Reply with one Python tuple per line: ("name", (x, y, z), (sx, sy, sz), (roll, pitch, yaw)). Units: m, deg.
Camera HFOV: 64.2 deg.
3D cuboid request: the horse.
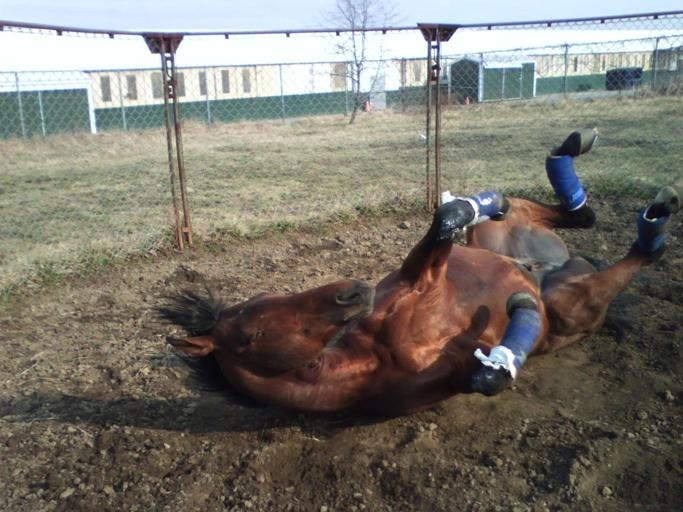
("horse", (0.760, 0.031, 5.269), (4.712, 1.818, 1.980), (-24, 31, -25))
